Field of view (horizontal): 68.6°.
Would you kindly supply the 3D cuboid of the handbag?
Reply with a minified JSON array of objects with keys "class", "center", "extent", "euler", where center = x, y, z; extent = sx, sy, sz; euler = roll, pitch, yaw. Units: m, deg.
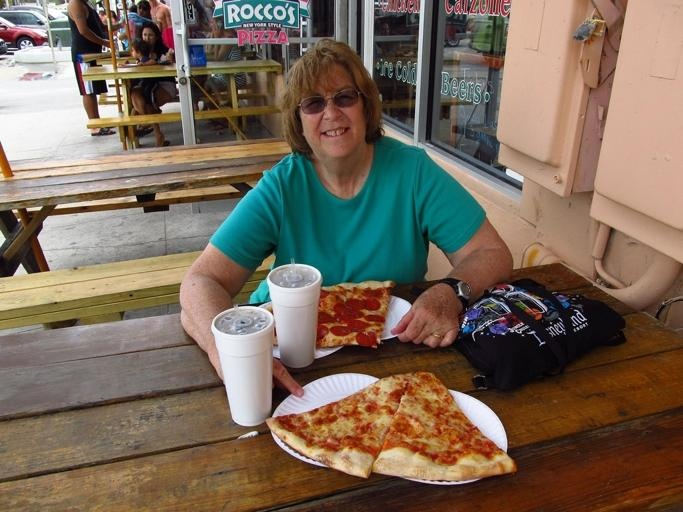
[{"class":"handbag","center":[0.673,0.277,1.631],"extent":[0.455,0.117,0.328],"euler":[-20,27,-12]}]

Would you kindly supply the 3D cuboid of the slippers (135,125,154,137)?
[{"class":"slippers","center":[-3.240,-2.052,8.222],"extent":[0.217,0.134,0.479],"euler":[-2,3,-21]}]

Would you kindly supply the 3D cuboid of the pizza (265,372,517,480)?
[{"class":"pizza","center":[0.142,0.488,1.324],"extent":[0.514,0.104,0.410],"euler":[-13,27,-26]}]
